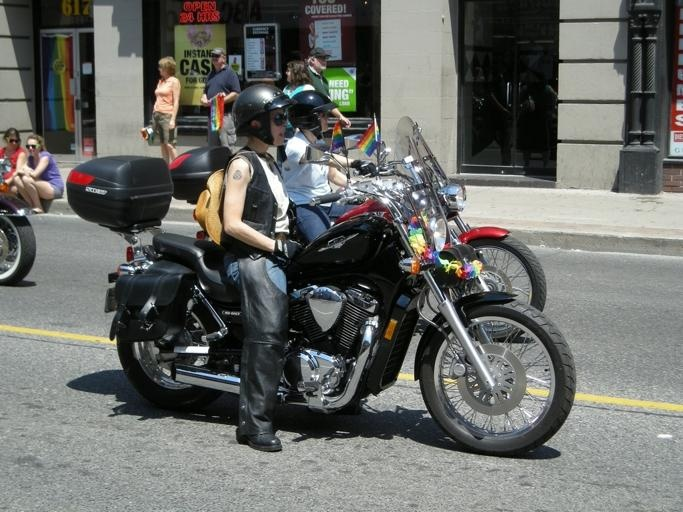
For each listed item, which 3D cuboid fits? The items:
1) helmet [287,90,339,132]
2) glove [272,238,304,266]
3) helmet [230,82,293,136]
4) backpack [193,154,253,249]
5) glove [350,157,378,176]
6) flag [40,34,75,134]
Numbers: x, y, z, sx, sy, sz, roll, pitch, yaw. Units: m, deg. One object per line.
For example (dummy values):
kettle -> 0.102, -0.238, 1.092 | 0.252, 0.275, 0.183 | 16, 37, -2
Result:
helmet -> -0.215, -1.092, 5.787 | 0.371, 0.299, 0.292 | -1, 13, 0
glove -> -0.356, -0.026, 4.852 | 0.084, 0.118, 0.202 | -40, -14, 32
helmet -> -0.554, -0.912, 4.920 | 0.360, 0.343, 0.306 | -7, 5, 12
backpack -> -0.776, -0.351, 5.049 | 0.528, 0.724, 0.182 | 1, 5, -6
glove -> 0.150, -0.569, 4.936 | 0.141, 0.062, 0.105 | 18, 7, 40
flag -> -7.379, -4.511, 20.089 | 1.255, 2.490, 0.489 | 9, 15, 35
